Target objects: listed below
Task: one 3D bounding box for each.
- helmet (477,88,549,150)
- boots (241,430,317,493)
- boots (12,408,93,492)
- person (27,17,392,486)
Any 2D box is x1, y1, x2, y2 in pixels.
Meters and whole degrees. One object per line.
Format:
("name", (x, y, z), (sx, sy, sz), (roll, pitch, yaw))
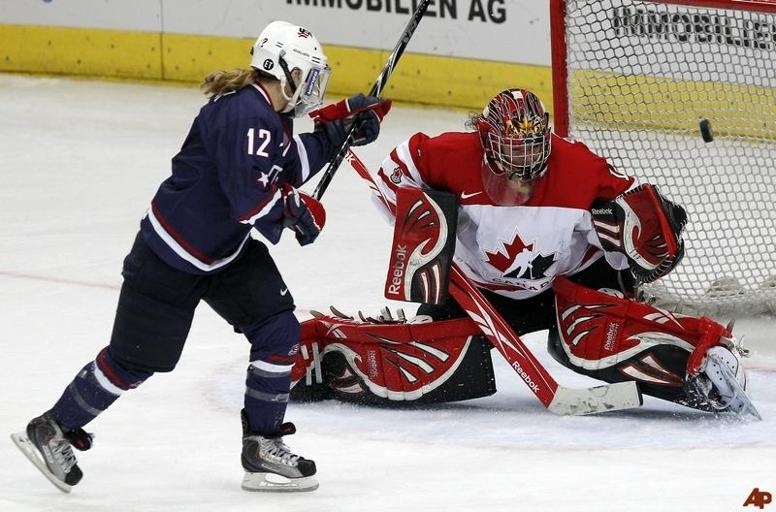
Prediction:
("helmet", (0.509, -0.551, 3.809), (0.332, 0.274, 0.351), (-6, 8, -3))
("boots", (-0.327, 0.731, 3.278), (0.346, 0.211, 0.129), (1, -1, 2))
("boots", (-1.176, 0.686, 3.276), (0.308, 0.221, 0.102), (47, -2, -1))
("person", (-0.621, -0.002, 3.314), (0.986, 1.664, 0.539), (9, 13, -3))
